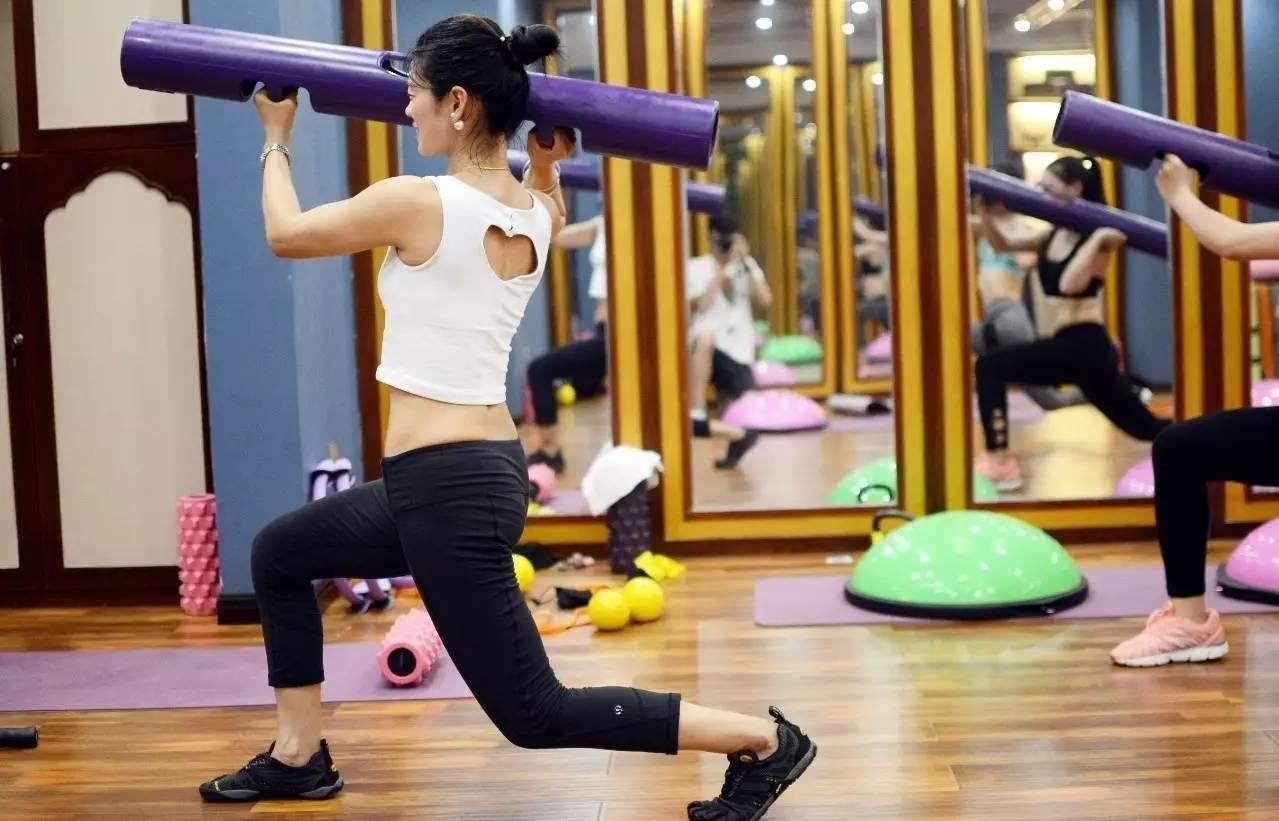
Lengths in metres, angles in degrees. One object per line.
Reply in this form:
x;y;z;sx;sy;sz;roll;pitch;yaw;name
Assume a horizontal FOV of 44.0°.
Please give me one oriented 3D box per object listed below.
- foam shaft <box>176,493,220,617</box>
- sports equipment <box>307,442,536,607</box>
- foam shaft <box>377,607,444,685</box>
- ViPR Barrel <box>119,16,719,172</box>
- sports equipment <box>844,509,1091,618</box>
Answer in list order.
-2.055;0.683;7.338;0.191;0.538;0.199;-1;-4;6;foam shaft
-0.771;0.388;5.269;0.700;0.793;0.460;3;-3;-7;sports equipment
-0.958;0.973;6.485;0.231;0.209;0.426;-4;7;-3;foam shaft
-0.804;-1.147;5.623;2.233;0.304;0.250;9;35;11;ViPR Barrel
1.422;0.668;6.834;1.033;0.403;0.324;-3;4;10;sports equipment
